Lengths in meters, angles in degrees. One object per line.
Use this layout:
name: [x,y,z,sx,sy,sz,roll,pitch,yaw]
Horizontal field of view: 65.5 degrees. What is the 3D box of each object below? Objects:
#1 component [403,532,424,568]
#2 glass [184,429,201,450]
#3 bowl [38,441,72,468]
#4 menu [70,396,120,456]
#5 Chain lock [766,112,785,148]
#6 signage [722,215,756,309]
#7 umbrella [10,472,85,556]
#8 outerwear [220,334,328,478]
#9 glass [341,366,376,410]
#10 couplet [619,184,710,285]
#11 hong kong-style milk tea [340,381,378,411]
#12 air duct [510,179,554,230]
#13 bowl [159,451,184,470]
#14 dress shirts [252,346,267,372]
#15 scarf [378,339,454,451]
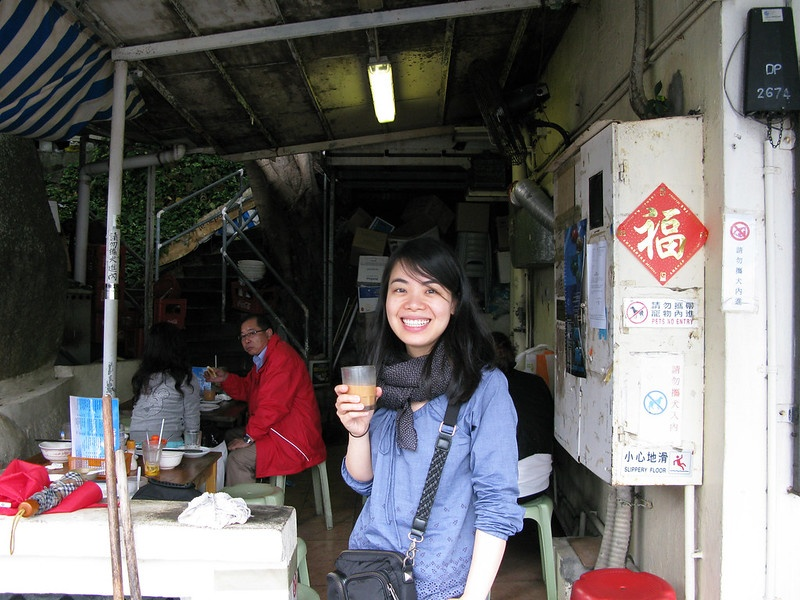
component: [0.041,0.847,2.130,0.062,0.134,0.027,12,-14,-5]
glass: [-1.462,0.970,4.353,0.097,0.120,0.102,-1,11,-14]
bowl: [-2.005,0.873,3.619,0.147,0.098,0.157,2,4,0]
menu: [-1.620,0.661,3.234,0.328,0.322,0.141,-7,-9,37]
Chain lock: [1.674,-0.754,2.768,0.089,0.141,0.027,0,-7,-16]
signage: [1.510,-0.169,2.776,0.150,0.426,0.056,-1,-7,-5]
umbrella: [-1.477,0.851,2.577,0.079,0.126,0.359,-46,0,14]
outerwear: [-1.075,0.977,5.463,0.998,1.262,0.938,1,-12,-17]
glass: [-0.147,0.312,2.263,0.132,0.170,0.133,-5,2,-35]
couplet: [1.232,-0.310,2.930,0.397,0.452,0.060,-2,-7,2]
hong kong-style milk tea: [-0.144,0.330,2.211,0.093,0.078,0.098,0,-1,24]
air duct: [1.012,-0.731,4.770,0.155,0.134,0.522,4,28,-16]
bowl: [-1.384,0.951,3.732,0.129,0.105,0.114,2,-8,-28]
dress shirts: [-1.194,0.501,5.264,0.140,0.203,0.196,0,6,8]
scarf: [0.061,0.338,2.269,0.254,0.366,0.118,-17,-14,33]
